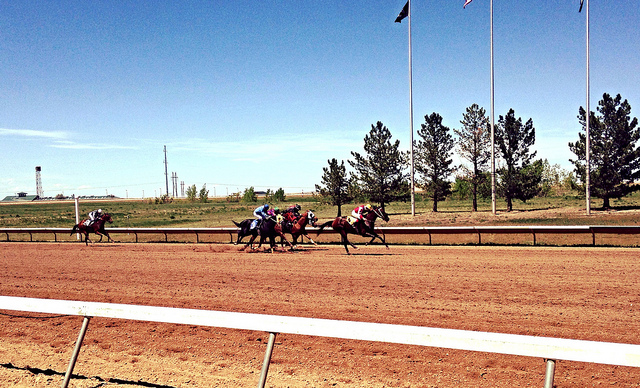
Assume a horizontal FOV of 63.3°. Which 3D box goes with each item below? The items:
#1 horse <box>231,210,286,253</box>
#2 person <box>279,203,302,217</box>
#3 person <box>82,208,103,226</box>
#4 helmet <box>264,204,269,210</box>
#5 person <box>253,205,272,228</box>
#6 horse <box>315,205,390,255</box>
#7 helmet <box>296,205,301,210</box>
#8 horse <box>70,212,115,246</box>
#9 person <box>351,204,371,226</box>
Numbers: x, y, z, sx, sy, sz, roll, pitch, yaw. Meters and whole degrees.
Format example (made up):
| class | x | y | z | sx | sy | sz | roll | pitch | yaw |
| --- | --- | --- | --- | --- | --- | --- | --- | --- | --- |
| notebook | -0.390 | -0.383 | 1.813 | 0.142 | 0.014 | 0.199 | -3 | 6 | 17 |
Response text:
| class | x | y | z | sx | sy | sz | roll | pitch | yaw |
| --- | --- | --- | --- | --- | --- | --- | --- | --- | --- |
| horse | -2.785 | 1.509 | 22.534 | 2.418 | 1.546 | 0.564 | 1 | -4 | 26 |
| person | -1.332 | 0.688 | 22.380 | 0.719 | 0.309 | 0.571 | 3 | 9 | 24 |
| person | -11.258 | 1.151 | 25.616 | 1.014 | 0.671 | 0.804 | -4 | 9 | -11 |
| helmet | -2.336 | 0.518 | 22.313 | 0.177 | 0.241 | 0.516 | -3 | 9 | -4 |
| person | -2.518 | 0.905 | 22.231 | 0.537 | 0.947 | 0.920 | -8 | 10 | -31 |
| horse | 1.427 | 1.472 | 21.723 | 2.864 | 2.181 | 2.946 | -2 | 9 | 1 |
| helmet | -0.936 | 0.571 | 22.384 | 0.158 | 0.213 | 0.204 | -19 | 10 | -28 |
| horse | -11.438 | 1.734 | 25.758 | 2.600 | 1.643 | 0.644 | -2 | 7 | 14 |
| person | 1.666 | 0.797 | 21.072 | 0.846 | 0.940 | 0.512 | 1 | 9 | 20 |
